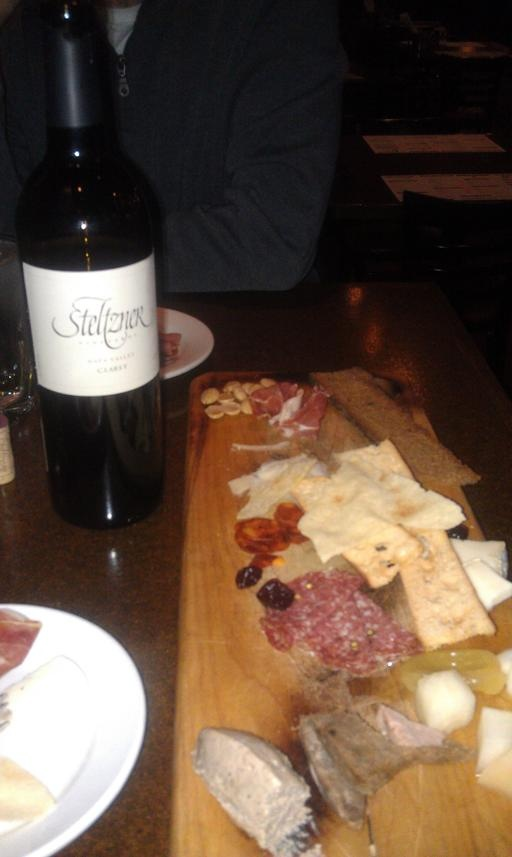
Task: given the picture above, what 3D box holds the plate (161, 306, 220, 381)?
[{"bbox_3d":[-0.089,-0.098,0.851,0.082,0.017,0.083,-21,48,-21],"label":"plate"}]
